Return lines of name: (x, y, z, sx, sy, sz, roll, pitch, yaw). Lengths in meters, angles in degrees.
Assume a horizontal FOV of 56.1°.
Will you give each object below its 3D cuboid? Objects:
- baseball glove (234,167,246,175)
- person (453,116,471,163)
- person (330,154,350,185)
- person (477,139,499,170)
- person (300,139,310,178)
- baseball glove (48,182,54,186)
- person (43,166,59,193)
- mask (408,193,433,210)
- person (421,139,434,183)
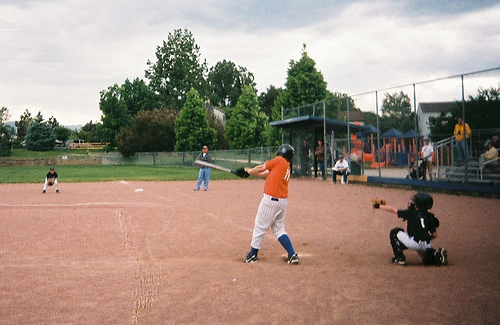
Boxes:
baseball glove: (-0.223, 0.212, 11.135, 0.219, 0.177, 0.414, 0, 11, 1)
person: (8.668, -0.943, 19.146, 0.467, 1.865, 0.945, -1, 11, -6)
person: (4.626, 0.377, 24.357, 1.004, 1.480, 0.995, 7, 13, 34)
person: (9.409, -0.306, 18.574, 0.643, 1.148, 1.254, 5, 12, 25)
person: (3.326, -0.264, 28.562, 0.302, 2.272, 0.909, -3, 11, -18)
baseball glove: (-8.748, 0.920, 20.727, 0.140, 0.163, 0.157, -13, -16, -25)
person: (-9.030, 0.759, 21.379, 0.566, 1.347, 2.701, -4, 11, -21)
mask: (3.888, 0.865, 10.705, 0.308, 0.372, 0.400, 5, 12, -29)
person: (7.687, -0.139, 20.411, 0.274, 1.711, 0.621, -2, 11, -9)
